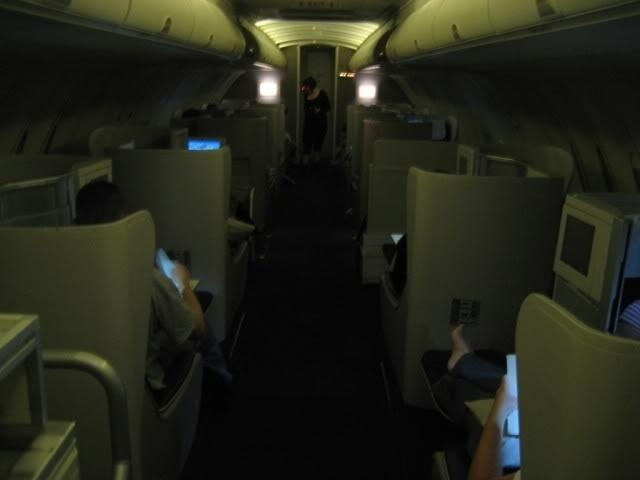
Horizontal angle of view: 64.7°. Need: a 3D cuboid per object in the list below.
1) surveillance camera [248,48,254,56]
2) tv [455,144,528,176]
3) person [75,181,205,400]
[{"bbox_3d":[-1.031,-2.805,7.547,0.060,0.101,0.099,15,24,35],"label":"surveillance camera"},{"bbox_3d":[1.184,-0.536,3.551,0.460,0.218,0.270,6,11,17],"label":"tv"},{"bbox_3d":[-1.029,0.304,2.821,0.563,0.899,0.686,1,8,18],"label":"person"}]
